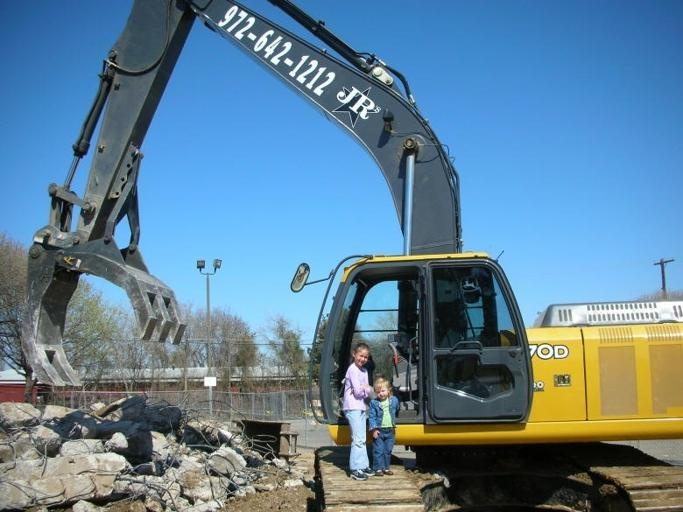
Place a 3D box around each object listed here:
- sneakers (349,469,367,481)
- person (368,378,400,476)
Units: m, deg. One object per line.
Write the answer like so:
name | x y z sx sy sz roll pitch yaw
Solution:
sneakers | 0.190 2.541 6.851 0.184 0.106 0.080 -1 -7 16
person | 0.521 2.038 7.136 0.390 1.119 0.295 -1 -9 -2
